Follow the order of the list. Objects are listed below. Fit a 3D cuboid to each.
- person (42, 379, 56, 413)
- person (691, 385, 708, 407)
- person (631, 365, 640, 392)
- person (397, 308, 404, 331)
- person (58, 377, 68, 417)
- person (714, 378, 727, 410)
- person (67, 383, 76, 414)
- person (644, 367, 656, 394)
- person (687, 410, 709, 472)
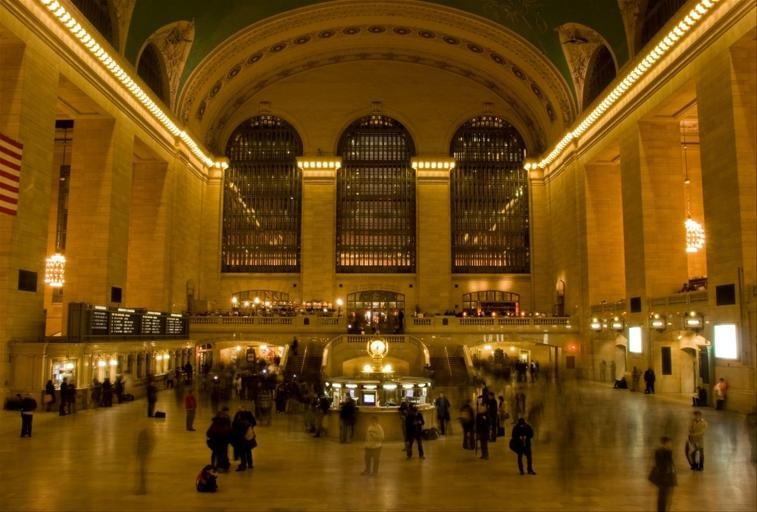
[{"bbox_3d":[-12.386,5.222,26.954,0.423,1.172,0.996,5,-15,-23],"label":"person"},{"bbox_3d":[12.711,5.519,28.305,0.884,0.865,0.506,9,-17,-33],"label":"person"},{"bbox_3d":[11.822,5.633,33.026,0.443,1.191,0.896,-5,-15,18],"label":"person"},{"bbox_3d":[1.204,3.644,39.729,0.338,1.248,0.857,-1,-14,3],"label":"person"},{"bbox_3d":[-11.757,5.245,26.720,0.294,1.385,0.695,6,-15,-24],"label":"person"},{"bbox_3d":[13.033,5.237,27.293,0.495,1.196,0.441,-7,-15,23],"label":"person"},{"bbox_3d":[-11.608,5.374,27.075,0.253,1.055,1.009,4,-15,-18],"label":"person"},{"bbox_3d":[12.094,5.532,31.946,0.504,1.170,0.882,-6,-15,20],"label":"person"},{"bbox_3d":[9.000,5.250,20.414,0.555,1.597,1.810,-6,-15,21],"label":"person"}]
